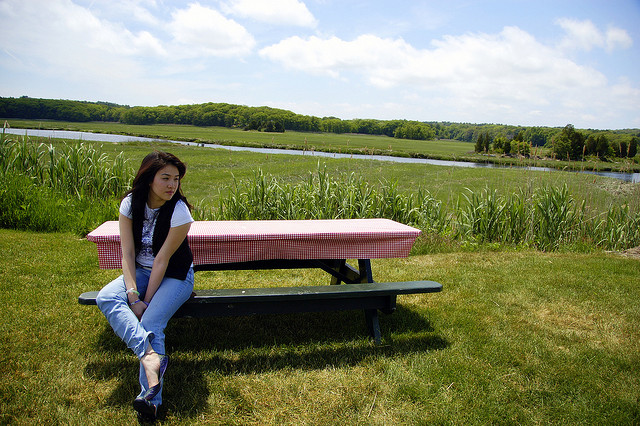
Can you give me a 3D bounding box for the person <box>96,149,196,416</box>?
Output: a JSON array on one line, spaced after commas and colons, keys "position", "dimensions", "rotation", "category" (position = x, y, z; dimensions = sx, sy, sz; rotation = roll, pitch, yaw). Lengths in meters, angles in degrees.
[{"position": [-1.944, 0.697, 5.123], "dimensions": [0.866, 2.673, 1.076], "rotation": [2, 12, 8], "category": "person"}]
